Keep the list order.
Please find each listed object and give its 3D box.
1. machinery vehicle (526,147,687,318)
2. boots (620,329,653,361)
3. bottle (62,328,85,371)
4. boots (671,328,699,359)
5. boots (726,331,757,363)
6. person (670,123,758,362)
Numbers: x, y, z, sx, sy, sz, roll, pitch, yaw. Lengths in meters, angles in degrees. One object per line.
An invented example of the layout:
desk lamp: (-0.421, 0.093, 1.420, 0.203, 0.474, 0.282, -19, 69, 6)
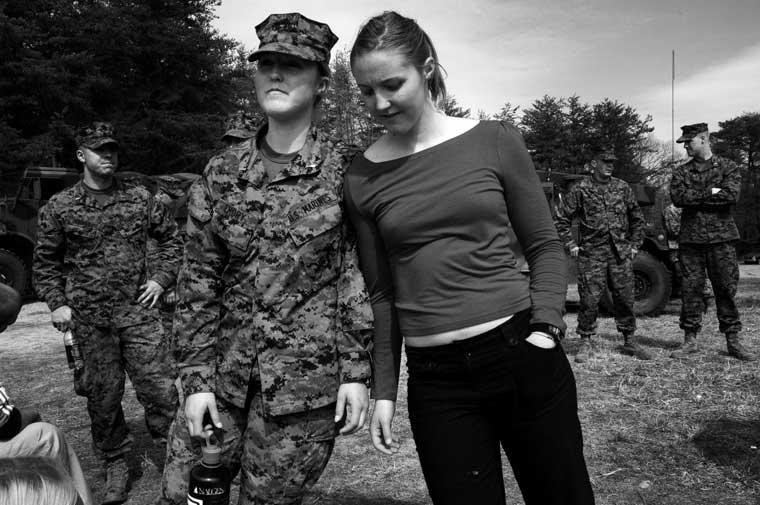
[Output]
machinery vehicle: (4.375, -0.213, 10.726, 3.494, 2.364, 2.305, -2, 2, -6)
boots: (3.051, 1.103, 7.675, 0.196, 0.242, 0.508, -4, 9, -14)
bottle: (-2.333, 0.743, 4.854, 0.099, 0.340, 0.185, -9, 11, -39)
boots: (3.678, 1.097, 7.623, 0.519, 0.393, 0.215, 2, -8, -21)
boots: (4.246, 1.090, 7.480, 0.174, 0.364, 0.386, -10, 0, -29)
person: (3.854, -0.152, 7.507, 0.839, 2.669, 0.559, 2, 9, 23)
